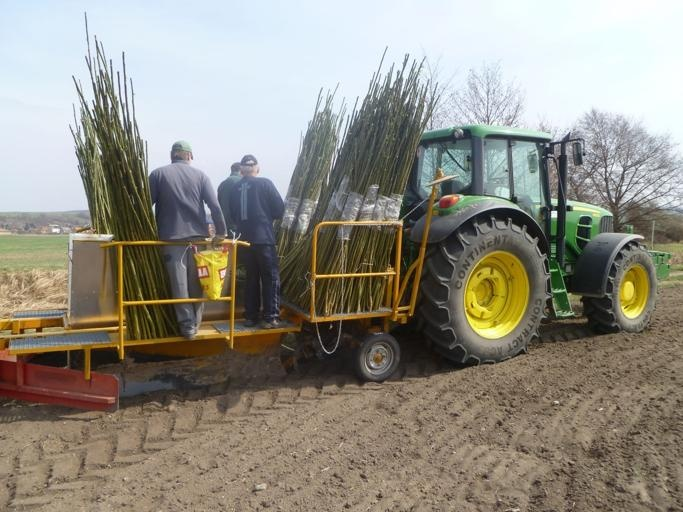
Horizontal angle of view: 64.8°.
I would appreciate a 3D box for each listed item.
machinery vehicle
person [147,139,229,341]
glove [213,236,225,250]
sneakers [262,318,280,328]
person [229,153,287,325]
[{"bbox_3d":[0.763,0.118,6.277,7.682,2.680,2.736,-4,7,-17],"label":"machinery vehicle"},{"bbox_3d":[-1.335,-0.171,4.784,0.591,1.618,0.747,-6,15,-19],"label":"person"},{"bbox_3d":[-1.048,-0.112,4.587,0.082,0.115,0.043,22,3,34],"label":"glove"},{"bbox_3d":[-0.629,0.601,4.881,0.138,0.066,0.078,0,4,-29],"label":"sneakers"},{"bbox_3d":[-0.766,-0.169,5.077,0.483,1.477,0.861,-4,14,-11],"label":"person"}]
